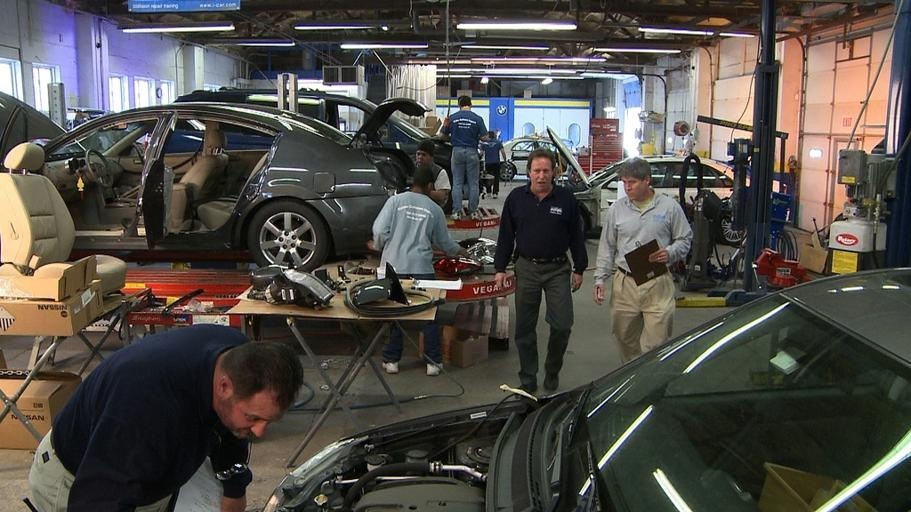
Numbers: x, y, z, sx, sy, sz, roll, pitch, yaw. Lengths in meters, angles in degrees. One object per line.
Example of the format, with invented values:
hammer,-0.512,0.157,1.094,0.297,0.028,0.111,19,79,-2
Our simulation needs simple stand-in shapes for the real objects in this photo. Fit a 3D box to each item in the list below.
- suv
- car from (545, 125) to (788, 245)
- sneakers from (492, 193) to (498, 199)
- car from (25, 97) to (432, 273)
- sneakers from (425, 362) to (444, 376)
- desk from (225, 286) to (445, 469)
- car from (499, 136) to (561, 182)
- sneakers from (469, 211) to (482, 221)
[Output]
suv,-1.528,-1.829,11.726,5.819,1.870,2.360,-1,10,-4
car,2.922,-1.426,13.103,4.949,2.389,1.917,2,8,6
sneakers,1.103,-1.718,19.158,0.176,0.113,0.293,1,5,8
car,-3.170,-0.870,8.641,5.417,1.775,2.399,4,10,4
sneakers,-0.245,1.272,7.600,0.099,0.085,0.208,2,5,9
desk,-1.198,0.966,6.811,1.844,1.306,1.798,4,11,3
car,1.715,-3.016,20.629,2.742,1.234,1.486,-3,10,-2
sneakers,0.310,-0.617,10.450,0.101,0.109,0.267,2,10,7
